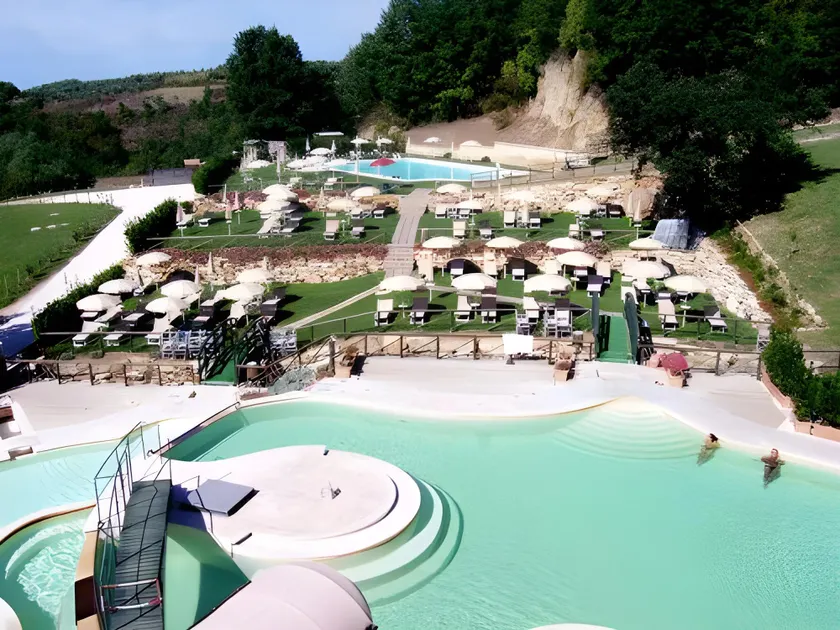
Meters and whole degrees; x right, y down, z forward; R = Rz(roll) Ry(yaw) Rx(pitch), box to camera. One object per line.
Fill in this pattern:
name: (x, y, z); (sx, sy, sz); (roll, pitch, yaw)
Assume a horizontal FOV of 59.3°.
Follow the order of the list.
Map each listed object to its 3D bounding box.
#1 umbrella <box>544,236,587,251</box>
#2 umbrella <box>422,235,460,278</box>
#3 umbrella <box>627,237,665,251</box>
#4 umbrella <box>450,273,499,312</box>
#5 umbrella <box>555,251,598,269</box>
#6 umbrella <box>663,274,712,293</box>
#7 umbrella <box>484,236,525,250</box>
umbrella: (7.807, -3.724, 40.010); (1.782, 0.920, 2.287); (-3, 12, -1)
umbrella: (1.239, -3.952, 41.857); (1.969, 1.113, 2.748); (-2, 12, 3)
umbrella: (11.787, -3.728, 39.163); (1.266, 0.454, 1.199); (-3, 10, -8)
umbrella: (2.724, -1.496, 36.627); (2.052, 1.427, 4.754); (-2, 12, 4)
umbrella: (8.264, -2.798, 38.639); (1.608, 1.081, 2.705); (1, 13, 19)
umbrella: (12.313, -1.354, 34.327); (1.796, 0.850, 1.336); (-1, 13, 10)
umbrella: (4.725, -3.978, 41.266); (2.054, 0.957, 2.973); (-2, 12, 5)
